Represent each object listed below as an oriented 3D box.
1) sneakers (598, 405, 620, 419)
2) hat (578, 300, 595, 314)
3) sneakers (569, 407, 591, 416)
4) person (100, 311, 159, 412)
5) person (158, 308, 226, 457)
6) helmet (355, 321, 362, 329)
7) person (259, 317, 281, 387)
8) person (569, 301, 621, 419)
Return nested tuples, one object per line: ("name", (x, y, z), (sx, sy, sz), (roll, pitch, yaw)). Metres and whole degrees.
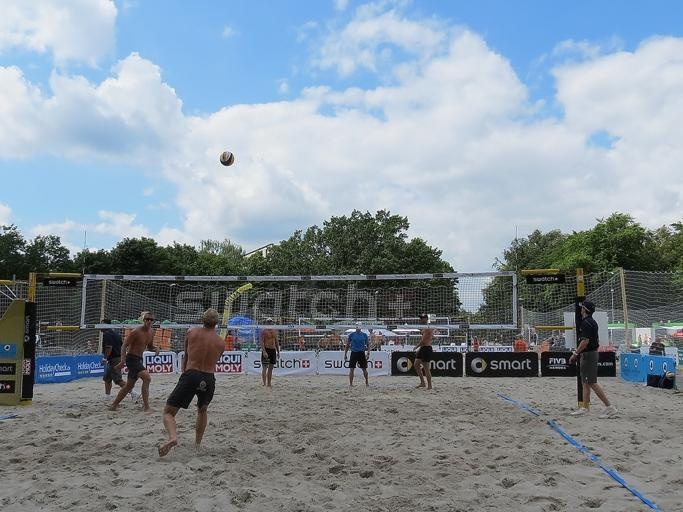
("sneakers", (4.703, 2.720, 11.443), (0.274, 0.240, 0.542), (2, 3, 42))
("hat", (4.382, 0.916, 11.731), (0.202, 0.257, 0.259), (7, 24, -1))
("sneakers", (4.273, 2.773, 11.592), (0.414, 0.191, 0.153), (2, -15, -5))
("person", (-3.892, 2.003, 12.295), (0.785, 1.924, 1.353), (-1, 3, -17))
("person", (-2.171, 1.818, 9.436), (1.009, 1.994, 0.491), (-3, 3, -42))
("helmet", (0.401, 1.692, 15.751), (0.184, 0.221, 0.218), (-1, 1, 1))
("person", (-1.753, 2.411, 15.810), (0.383, 1.482, 0.692), (-1, 2, -6))
("person", (4.475, 1.847, 11.648), (0.697, 2.042, 1.141), (1, 3, 21))
